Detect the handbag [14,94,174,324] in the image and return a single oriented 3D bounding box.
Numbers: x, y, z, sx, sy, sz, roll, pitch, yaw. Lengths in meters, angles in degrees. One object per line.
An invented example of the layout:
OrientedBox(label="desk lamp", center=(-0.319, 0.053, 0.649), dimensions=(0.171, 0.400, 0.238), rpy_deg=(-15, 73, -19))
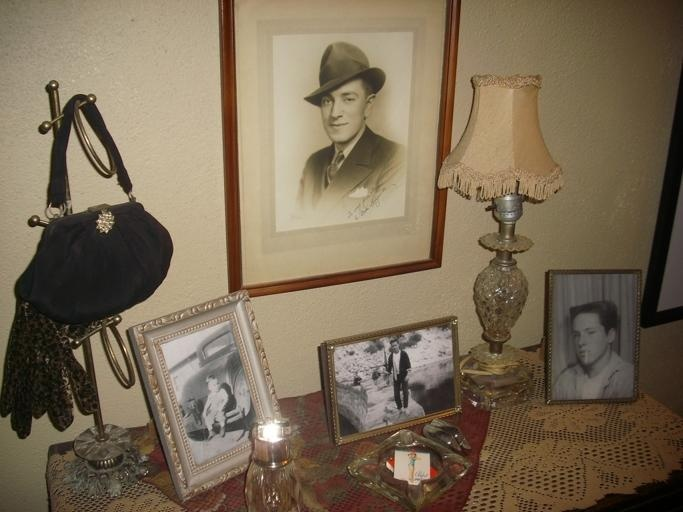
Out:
OrientedBox(label="handbag", center=(-0.611, -0.106, 1.483), dimensions=(0.403, 0.566, 0.097), rpy_deg=(-18, 34, -39))

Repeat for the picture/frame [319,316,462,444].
OrientedBox(label="picture/frame", center=(0.156, 0.392, 1.806), dimensions=(0.321, 0.246, 0.029), rpy_deg=(-10, 9, -18))

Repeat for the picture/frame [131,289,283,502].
OrientedBox(label="picture/frame", center=(-0.382, 0.394, 1.631), dimensions=(0.413, 0.543, 0.041), rpy_deg=(-22, 9, -34))
